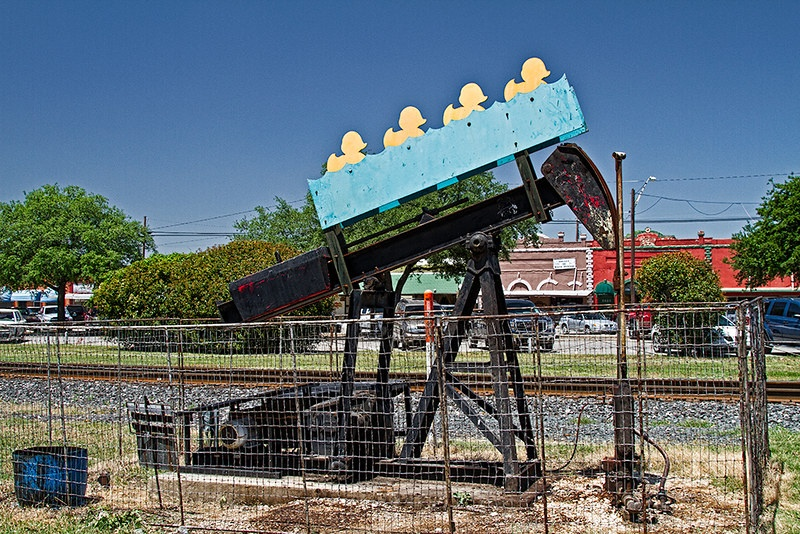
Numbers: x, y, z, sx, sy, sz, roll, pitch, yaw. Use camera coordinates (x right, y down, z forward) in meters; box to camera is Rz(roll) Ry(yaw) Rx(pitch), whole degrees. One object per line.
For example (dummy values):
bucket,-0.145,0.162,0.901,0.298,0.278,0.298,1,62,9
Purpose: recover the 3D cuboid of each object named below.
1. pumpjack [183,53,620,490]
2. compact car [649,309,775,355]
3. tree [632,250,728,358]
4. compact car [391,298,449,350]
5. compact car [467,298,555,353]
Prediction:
pumpjack,0.108,0.235,14.439,6.370,6.516,1.890,-9,-15,16
compact car,5.021,1.067,14.449,1.918,0.995,1.191,-9,-10,43
tree,7.310,0.809,23.298,1.904,3.049,2.499,2,-7,-2
compact car,0.256,0.960,15.179,0.783,0.803,1.631,-1,-6,-7
compact car,2.025,0.843,14.619,0.904,0.839,2.181,0,-8,-9
